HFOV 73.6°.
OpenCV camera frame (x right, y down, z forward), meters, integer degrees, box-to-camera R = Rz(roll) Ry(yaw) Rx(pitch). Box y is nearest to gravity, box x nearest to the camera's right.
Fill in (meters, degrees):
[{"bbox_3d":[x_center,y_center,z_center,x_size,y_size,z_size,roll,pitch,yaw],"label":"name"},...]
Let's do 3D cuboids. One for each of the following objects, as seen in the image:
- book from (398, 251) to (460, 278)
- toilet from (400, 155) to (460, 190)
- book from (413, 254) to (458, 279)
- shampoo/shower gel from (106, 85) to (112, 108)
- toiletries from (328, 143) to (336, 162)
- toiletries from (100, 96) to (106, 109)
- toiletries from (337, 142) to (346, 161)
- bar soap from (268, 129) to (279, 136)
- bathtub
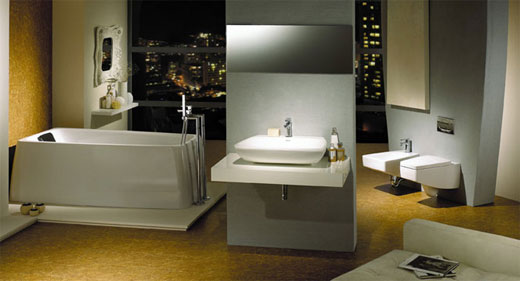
[{"bbox_3d":[1.640,1.211,3.387,0.288,0.060,0.262,3,11,17],"label":"book"},{"bbox_3d":[2.905,0.624,5.725,0.711,0.490,0.893,-4,-10,-42],"label":"toilet"},{"bbox_3d":[1.701,1.225,3.361,0.434,0.039,0.321,-3,19,7],"label":"book"},{"bbox_3d":[-3.210,-0.936,7.362,0.154,0.477,0.207,-3,10,-19],"label":"shampoo/shower gel"},{"bbox_3d":[0.876,0.160,4.328,0.160,0.255,0.150,-1,2,7],"label":"toiletries"},{"bbox_3d":[-3.316,-0.812,7.282,0.134,0.252,0.110,-5,11,-29],"label":"toiletries"},{"bbox_3d":[0.997,0.125,4.237,0.099,0.211,0.153,4,10,19],"label":"toiletries"},{"bbox_3d":[0.166,-0.108,4.330,0.140,0.089,0.043,0,10,-4],"label":"bar soap"},{"bbox_3d":[-2.486,0.407,5.960,2.948,1.122,1.214,1,9,4],"label":"bathtub"}]
